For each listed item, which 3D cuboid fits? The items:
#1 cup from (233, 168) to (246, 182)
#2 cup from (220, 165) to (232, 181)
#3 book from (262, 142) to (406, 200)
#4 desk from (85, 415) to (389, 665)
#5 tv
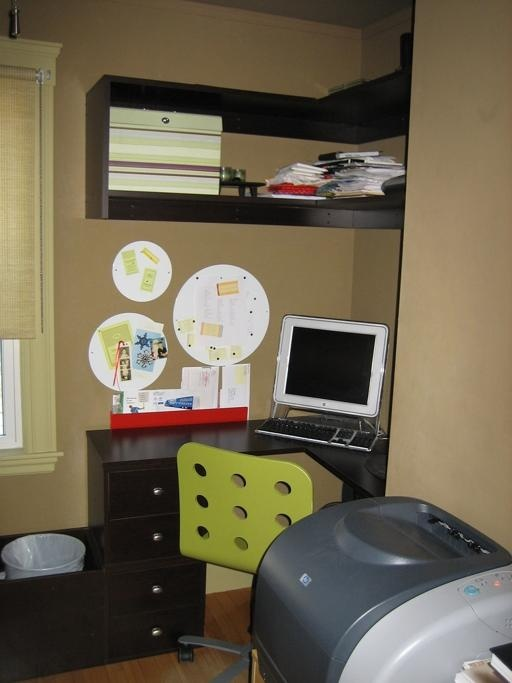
[{"bbox_3d":[-0.061,-0.650,2.375,0.047,0.049,0.061,-1,10,-18],"label":"cup"},{"bbox_3d":[-0.114,-0.669,2.388,0.052,0.058,0.052,2,14,-1],"label":"cup"},{"bbox_3d":[0.287,-0.605,2.201,0.643,0.171,0.170,11,13,43],"label":"book"},{"bbox_3d":[-0.204,0.790,2.455,0.980,0.707,0.363,1,-3,-37],"label":"desk"},{"bbox_3d":[0.311,0.129,2.463,0.439,0.428,0.047,8,-5,27],"label":"tv"}]
